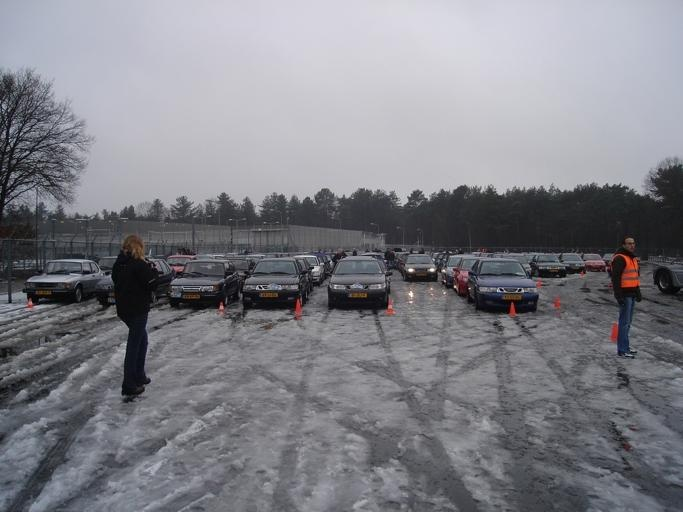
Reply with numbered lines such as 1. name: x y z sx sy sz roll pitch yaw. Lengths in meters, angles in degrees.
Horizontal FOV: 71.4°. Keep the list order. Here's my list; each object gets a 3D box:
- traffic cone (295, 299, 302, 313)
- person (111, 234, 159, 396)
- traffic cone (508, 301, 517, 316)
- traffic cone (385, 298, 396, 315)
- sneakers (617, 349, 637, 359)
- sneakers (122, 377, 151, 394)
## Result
1. traffic cone: -1.384 1.573 15.165 0.248 0.365 0.258 -9 26 -16
2. person: -3.301 0.909 7.615 0.669 2.489 0.576 -1 3 -12
3. traffic cone: 5.256 1.600 14.583 0.313 0.456 0.326 -2 9 18
4. traffic cone: 1.579 1.659 15.467 0.352 0.424 0.351 -1 -1 42
5. sneakers: 5.842 1.975 9.648 0.407 0.193 0.143 -4 1 25
6. sneakers: -3.253 2.054 7.647 0.275 0.198 0.534 1 4 26
